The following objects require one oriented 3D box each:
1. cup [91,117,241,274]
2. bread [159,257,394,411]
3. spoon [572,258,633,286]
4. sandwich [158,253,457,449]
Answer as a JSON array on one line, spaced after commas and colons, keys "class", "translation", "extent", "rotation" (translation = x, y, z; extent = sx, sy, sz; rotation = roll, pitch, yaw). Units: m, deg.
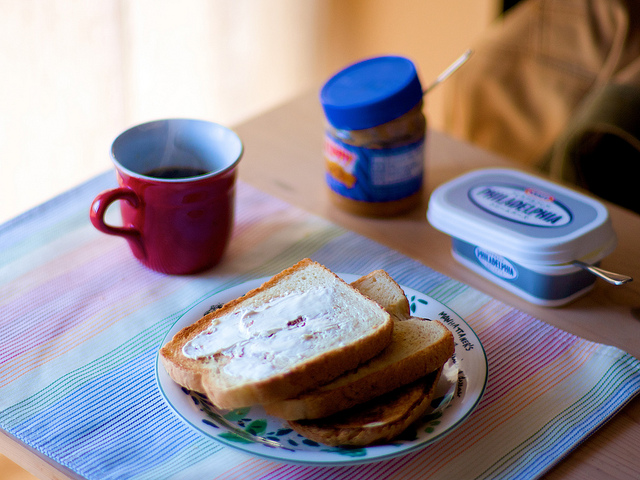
[{"class": "cup", "translation": [-0.230, -0.055, 0.880], "extent": [0.242, 0.178, 0.191], "rotation": [-24, 44, -38]}, {"class": "bread", "translation": [-0.051, 0.072, 0.631], "extent": [0.201, 0.043, 0.153], "rotation": [-28, 39, -27]}, {"class": "spoon", "translation": [0.401, 0.045, 0.824], "extent": [0.019, 0.014, 0.132], "rotation": [26, 0, -20]}, {"class": "sandwich", "translation": [-0.008, 0.125, 0.707], "extent": [0.301, 0.094, 0.349], "rotation": [21, 26, 28]}]
